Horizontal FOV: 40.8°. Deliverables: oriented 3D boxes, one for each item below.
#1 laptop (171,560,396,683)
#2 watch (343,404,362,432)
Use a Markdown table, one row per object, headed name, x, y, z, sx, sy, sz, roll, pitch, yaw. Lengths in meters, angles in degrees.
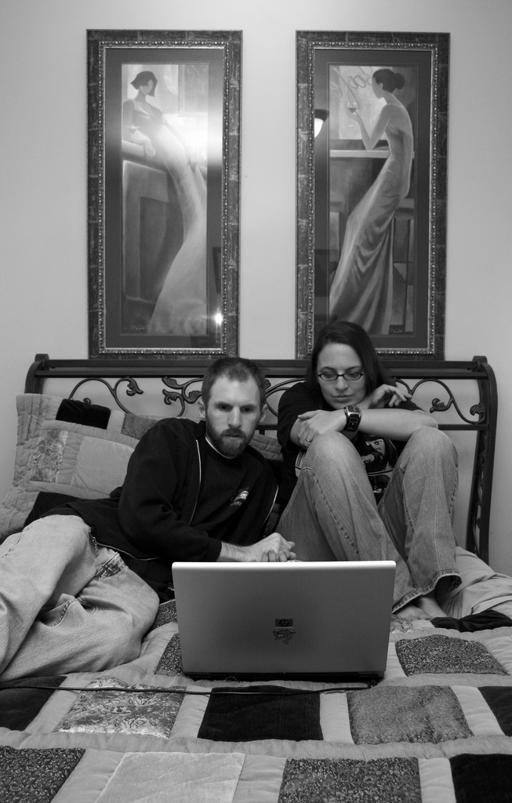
| name | x | y | z | sx | sy | sz | roll | pitch | yaw |
| --- | --- | --- | --- | --- | --- | --- | --- | --- | --- |
| laptop | 0.044 | 0.335 | 0.929 | 0.284 | 0.195 | 0.203 | 1 | 44 | 1 |
| watch | 0.240 | 0.045 | 1.709 | 0.037 | 0.059 | 0.058 | 4 | -3 | 1 |
